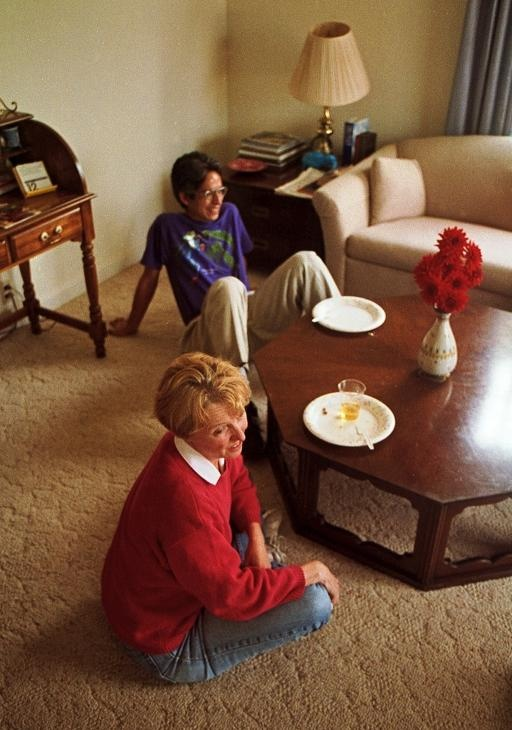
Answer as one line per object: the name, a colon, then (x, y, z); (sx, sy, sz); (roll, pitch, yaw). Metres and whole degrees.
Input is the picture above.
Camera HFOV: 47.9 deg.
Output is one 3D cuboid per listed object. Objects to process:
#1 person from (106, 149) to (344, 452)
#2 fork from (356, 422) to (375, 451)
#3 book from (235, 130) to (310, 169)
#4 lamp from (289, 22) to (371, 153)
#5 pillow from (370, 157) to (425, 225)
person: (-0.059, -0.397, 2.433); (0.753, 0.864, 1.266); (-17, 32, -24)
fork: (0.278, 0.185, 1.453); (0.018, 0.004, 0.076); (-16, 27, 2)
book: (0.080, -1.224, 3.338); (0.282, 0.099, 0.285); (22, 39, 32)
lamp: (0.385, -1.385, 2.952); (0.328, 0.634, 0.339); (24, 40, 37)
pillow: (0.693, -0.859, 2.856); (0.265, 0.284, 0.101); (-25, 27, -20)
